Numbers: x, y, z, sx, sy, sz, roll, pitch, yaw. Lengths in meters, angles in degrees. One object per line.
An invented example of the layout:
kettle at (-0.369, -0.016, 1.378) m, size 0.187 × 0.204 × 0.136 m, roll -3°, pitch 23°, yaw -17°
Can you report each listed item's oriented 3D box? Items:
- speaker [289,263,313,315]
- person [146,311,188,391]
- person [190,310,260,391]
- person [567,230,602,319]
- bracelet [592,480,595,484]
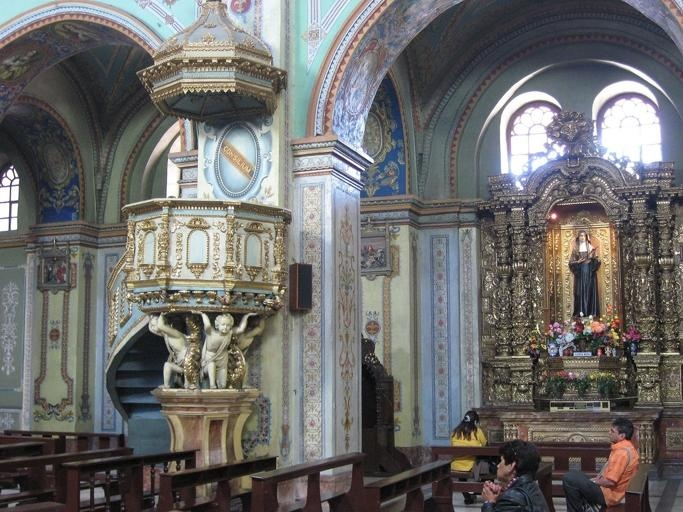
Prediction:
speaker at (-0.569, 0.464, 16.775) m, size 0.321 × 0.665 × 0.295 m, roll -1°, pitch -8°, yaw -3°
person at (-2.313, 1.280, 16.351) m, size 0.502 × 0.980 × 0.376 m, roll 2°, pitch -9°, yaw -20°
person at (-1.605, 1.253, 16.317) m, size 1.143 × 1.380 × 0.456 m, roll 0°, pitch -1°, yaw -38°
person at (4.076, 0.317, 20.701) m, size 0.497 × 1.509 × 0.337 m, roll -3°, pitch -8°, yaw 10°
bracelet at (2.971, 2.712, 14.586) m, size 0.036 × 0.011 × 0.036 m, roll 5°, pitch 5°, yaw 29°
